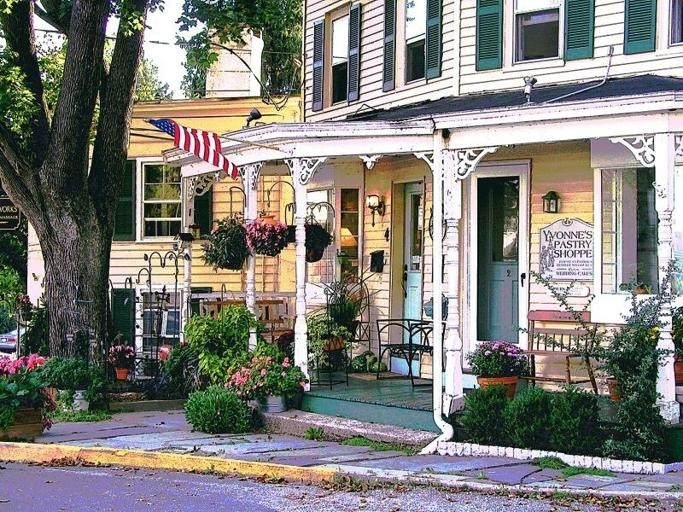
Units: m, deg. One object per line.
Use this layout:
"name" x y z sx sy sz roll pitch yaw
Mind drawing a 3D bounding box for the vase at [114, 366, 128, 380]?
"vase" -4.442 2.403 18.694 0.225 0.197 0.242 4 -6 -17

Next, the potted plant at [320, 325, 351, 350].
"potted plant" -0.085 1.511 16.810 0.268 0.475 0.940 2 9 32

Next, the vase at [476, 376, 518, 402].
"vase" 2.395 1.995 13.806 0.630 0.394 0.346 -5 8 -12

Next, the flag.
"flag" -2.438 -1.804 15.647 0.692 1.068 1.922 1 9 28

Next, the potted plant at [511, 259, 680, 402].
"potted plant" 4.055 1.023 13.283 2.293 2.082 1.499 -1 -2 40

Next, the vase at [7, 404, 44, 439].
"vase" -4.816 2.596 14.099 0.642 0.509 0.356 5 -8 -42

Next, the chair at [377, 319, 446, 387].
"chair" 1.220 1.699 16.166 1.008 1.150 0.779 7 -7 -43

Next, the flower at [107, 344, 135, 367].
"flower" -4.455 2.043 18.879 0.390 0.489 0.441 0 -5 5

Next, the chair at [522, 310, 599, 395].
"chair" 3.342 1.484 14.330 1.026 1.470 0.970 0 -1 26

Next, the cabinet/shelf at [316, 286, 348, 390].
"cabinet/shelf" -0.131 1.480 17.242 0.615 1.975 0.688 0 -8 9

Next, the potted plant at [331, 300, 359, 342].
"potted plant" 0.077 1.196 17.298 0.560 0.842 0.623 0 -5 2

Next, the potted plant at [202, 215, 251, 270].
"potted plant" -1.966 -0.216 16.476 0.753 1.016 0.966 1 4 9

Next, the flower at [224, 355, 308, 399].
"flower" -1.212 2.023 15.013 1.276 0.662 0.427 -2 7 13

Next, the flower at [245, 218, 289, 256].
"flower" -1.263 -0.310 15.941 0.739 0.661 0.452 -3 7 0

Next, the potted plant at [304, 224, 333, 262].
"potted plant" -0.478 -0.240 16.316 0.566 0.634 0.439 6 -2 -23
